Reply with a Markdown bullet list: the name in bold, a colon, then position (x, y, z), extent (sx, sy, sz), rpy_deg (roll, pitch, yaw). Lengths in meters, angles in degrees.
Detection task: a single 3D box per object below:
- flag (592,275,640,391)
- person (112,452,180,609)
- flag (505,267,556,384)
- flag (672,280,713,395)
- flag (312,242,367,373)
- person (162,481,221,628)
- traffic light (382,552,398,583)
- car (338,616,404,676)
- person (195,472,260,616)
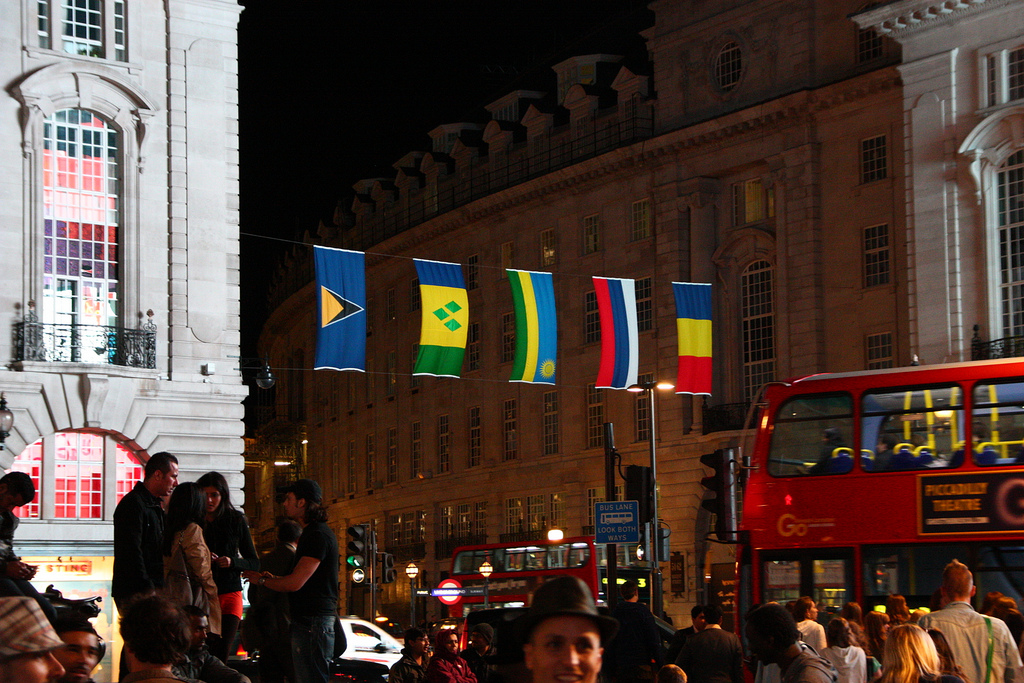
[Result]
- **flag**: position (2.879, -0.207, 61.676), extent (1.406, 3.133, 0.097), rpy_deg (2, -6, -32)
- **person**: position (-7.024, 3.619, 41.731), extent (1.149, 2.924, 0.721), rpy_deg (0, -11, -10)
- **flag**: position (0.577, -0.423, 60.747), extent (1.031, 3.226, 1.107), rpy_deg (-8, -13, 27)
- **flag**: position (5.268, -0.098, 63.815), extent (1.002, 3.319, 0.990), rpy_deg (3, 19, 9)
- **flag**: position (-4.475, -0.800, 56.779), extent (1.655, 3.225, 0.162), rpy_deg (5, -9, -33)
- **person**: position (-6.169, 4.119, 42.010), extent (1.098, 2.607, 0.711), rpy_deg (1, -29, -9)
- **traffic light**: position (-3.795, 6.969, 67.098), extent (0.305, 0.841, 0.863), rpy_deg (1, -11, -13)
- **car**: position (-3.881, 7.779, 55.479), extent (2.163, 1.504, 1.170), rpy_deg (-3, -11, -29)
- **person**: position (-5.644, 4.001, 42.807), extent (1.261, 2.702, 0.891), rpy_deg (-19, -18, 34)
